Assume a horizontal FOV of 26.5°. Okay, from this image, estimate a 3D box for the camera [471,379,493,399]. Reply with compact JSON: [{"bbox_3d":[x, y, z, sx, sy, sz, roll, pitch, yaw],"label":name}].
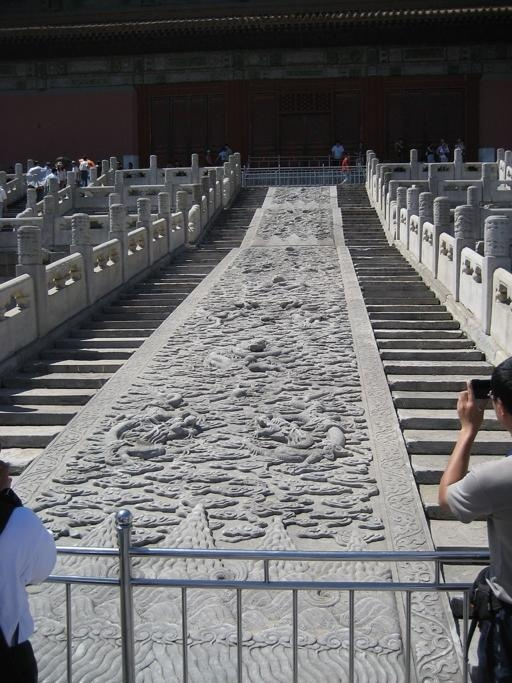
[{"bbox_3d":[0.899,0.176,4.319,0.122,0.080,0.067,0,-1,8],"label":"camera"}]
